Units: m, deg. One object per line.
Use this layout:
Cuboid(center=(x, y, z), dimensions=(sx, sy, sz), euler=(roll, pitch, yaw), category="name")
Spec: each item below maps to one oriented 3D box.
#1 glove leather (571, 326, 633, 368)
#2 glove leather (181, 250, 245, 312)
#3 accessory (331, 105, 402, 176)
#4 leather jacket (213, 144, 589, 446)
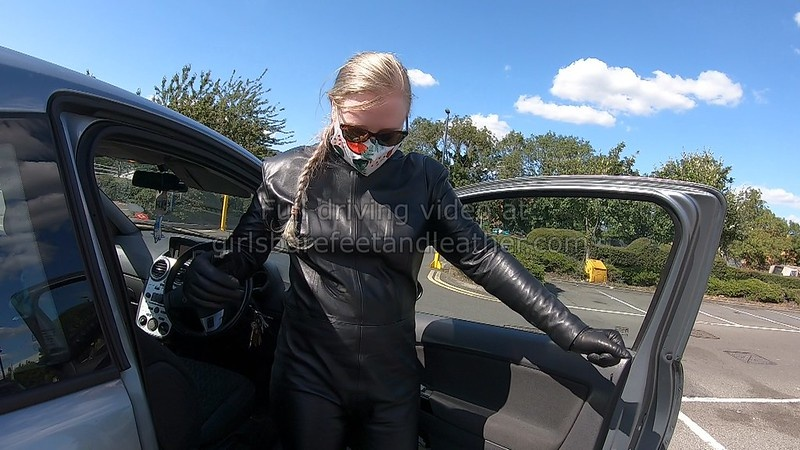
Cuboid(center=(1.029, 0.625, 2.085), dimensions=(0.273, 0.135, 0.155), euler=(3, 6, -24), category="glove leather")
Cuboid(center=(-0.954, 0.288, 2.082), dimensions=(0.270, 0.285, 0.144), euler=(3, 6, -25), category="glove leather")
Cuboid(center=(-0.180, -0.409, 2.108), dimensions=(0.312, 0.186, 0.340), euler=(8, 41, -23), category="accessory")
Cuboid(center=(0.036, 0.435, 2.318), dimensions=(1.960, 2.053, 0.509), euler=(1, -6, 0), category="leather jacket")
